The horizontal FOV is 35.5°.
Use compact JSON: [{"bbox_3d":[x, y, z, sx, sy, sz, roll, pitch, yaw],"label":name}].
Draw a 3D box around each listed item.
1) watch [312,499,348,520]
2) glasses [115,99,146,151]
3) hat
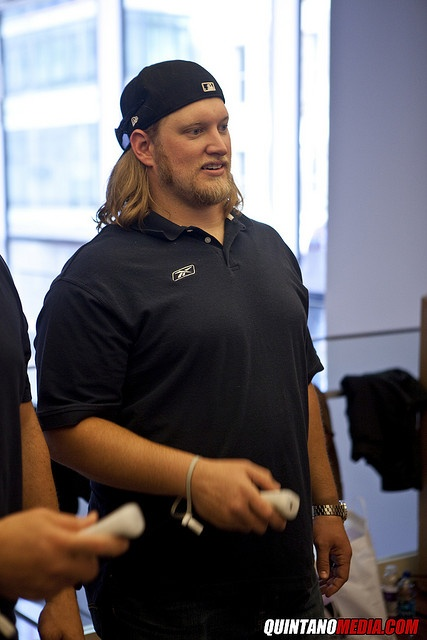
[{"bbox_3d":[0.267,0.429,1.557,0.076,0.048,0.079,-4,-7,-7],"label":"watch"},{"bbox_3d":[-0.192,-0.437,1.527,0.079,0.106,0.055,-4,40,-16],"label":"glasses"},{"bbox_3d":[-0.108,-0.466,1.486,0.197,0.120,0.153,-29,-3,22],"label":"hat"}]
